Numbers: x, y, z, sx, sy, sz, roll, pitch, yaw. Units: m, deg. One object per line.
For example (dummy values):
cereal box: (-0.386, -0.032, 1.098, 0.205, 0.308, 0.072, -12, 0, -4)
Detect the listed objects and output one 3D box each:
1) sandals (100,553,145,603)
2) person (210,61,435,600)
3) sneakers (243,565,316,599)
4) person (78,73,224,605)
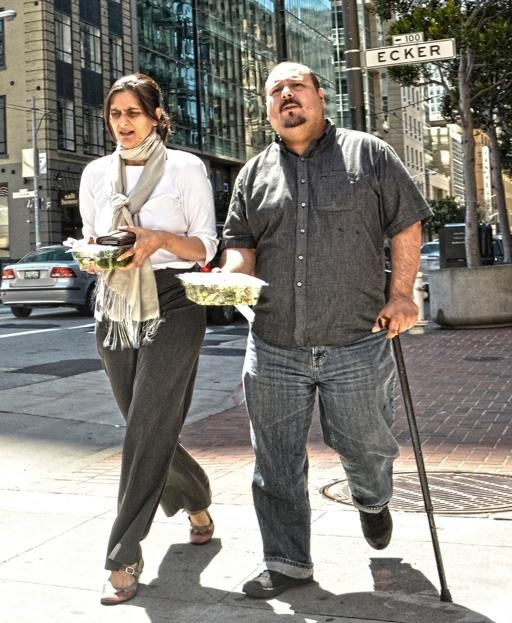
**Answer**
sandals: (-0.504, 0.993, 2.517, 0.136, 0.070, 0.312, 3, 13, 2)
person: (0.236, 0.049, 2.430, 0.795, 1.974, 0.480, -2, 6, 11)
sneakers: (0.091, 1.012, 2.493, 0.257, 0.076, 0.079, 3, -7, -28)
person: (-0.401, 0.049, 2.689, 0.556, 2.096, 0.792, -4, 6, -9)
